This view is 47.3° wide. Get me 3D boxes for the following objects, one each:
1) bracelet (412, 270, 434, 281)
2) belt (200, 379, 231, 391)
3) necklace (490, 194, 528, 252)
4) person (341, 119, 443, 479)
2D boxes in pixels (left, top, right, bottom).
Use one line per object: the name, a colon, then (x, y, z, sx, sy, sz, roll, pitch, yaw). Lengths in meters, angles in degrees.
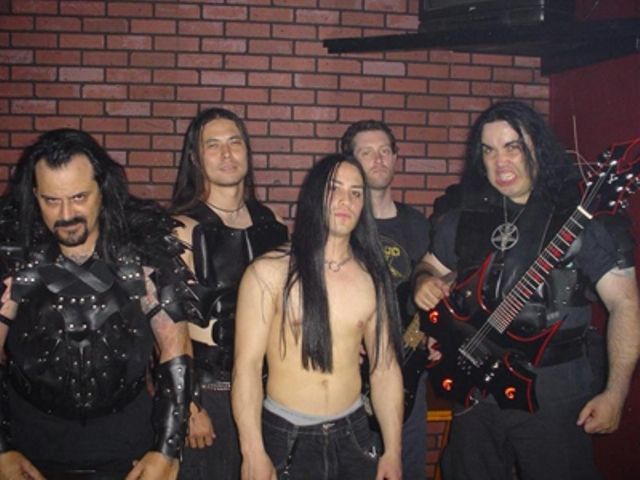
bracelet: (0.626, 0.216, 4.489, 0.076, 0.071, 0.069, -10, -12, -38)
belt: (-0.586, 0.825, 4.111, 0.156, 0.068, 0.014, 2, 10, -4)
necklace: (1.090, -0.096, 4.253, 0.135, 0.351, 0.040, 10, -27, 12)
person: (0.471, 0.318, 4.648, 0.712, 2.075, 0.264, -6, 0, 42)
